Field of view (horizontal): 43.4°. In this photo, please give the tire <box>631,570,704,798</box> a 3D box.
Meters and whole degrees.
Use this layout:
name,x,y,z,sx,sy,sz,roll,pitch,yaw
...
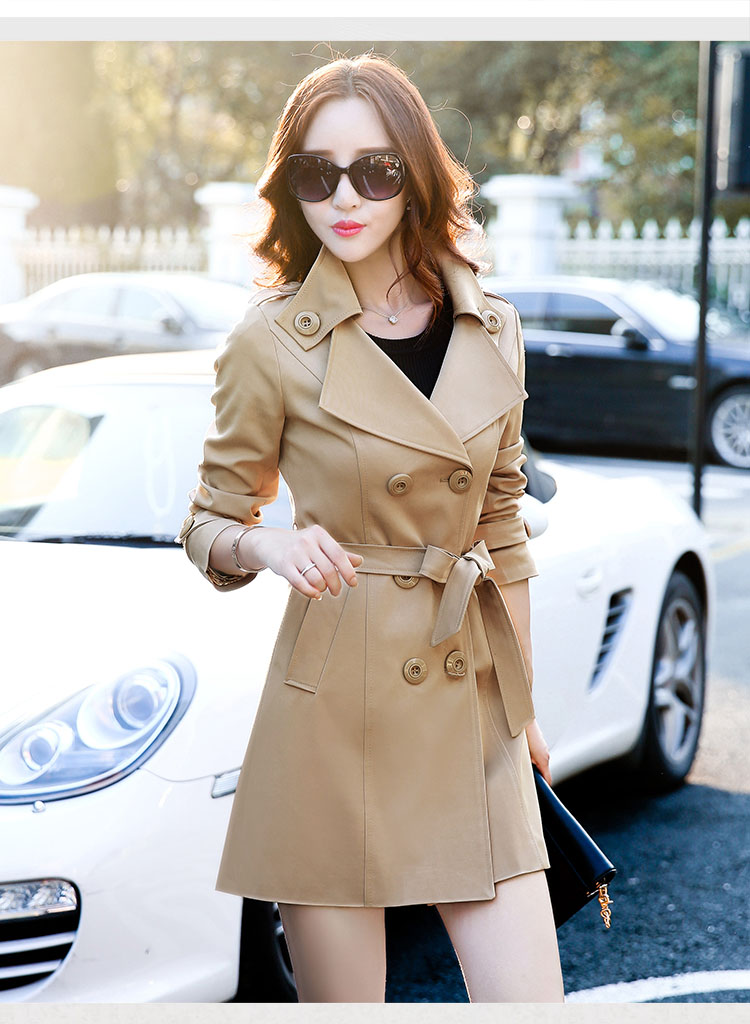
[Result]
name,x,y,z,sx,sy,sz,roll,pitch,yaw
tire,0.947,0.561,3.083,0.261,0.697,0.746,1,-8,13

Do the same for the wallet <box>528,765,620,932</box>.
name,x,y,z,sx,sy,sz,roll,pitch,yaw
wallet,0.245,0.481,1.346,0.070,0.195,0.156,-26,-12,35

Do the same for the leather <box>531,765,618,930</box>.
name,x,y,z,sx,sy,sz,roll,pitch,yaw
leather,0.268,0.469,1.321,0.063,0.196,0.156,-29,-10,38

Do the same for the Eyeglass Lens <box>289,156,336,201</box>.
name,x,y,z,sx,sy,sz,roll,pitch,yaw
Eyeglass Lens,-0.077,-0.420,1.190,0.065,0.027,0.063,9,-7,-1

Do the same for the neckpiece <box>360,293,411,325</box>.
name,x,y,z,sx,sy,sz,roll,pitch,yaw
neckpiece,0.018,-0.277,1.286,0.048,0.066,0.021,7,-18,-13

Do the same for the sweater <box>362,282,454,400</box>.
name,x,y,z,sx,sy,sz,roll,pitch,yaw
sweater,0.060,-0.233,1.281,0.096,0.038,0.159,-17,41,11

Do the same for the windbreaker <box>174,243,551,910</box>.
name,x,y,z,sx,sy,sz,roll,pitch,yaw
windbreaker,-0.012,0.072,1.177,0.430,0.769,0.335,-4,15,-10
